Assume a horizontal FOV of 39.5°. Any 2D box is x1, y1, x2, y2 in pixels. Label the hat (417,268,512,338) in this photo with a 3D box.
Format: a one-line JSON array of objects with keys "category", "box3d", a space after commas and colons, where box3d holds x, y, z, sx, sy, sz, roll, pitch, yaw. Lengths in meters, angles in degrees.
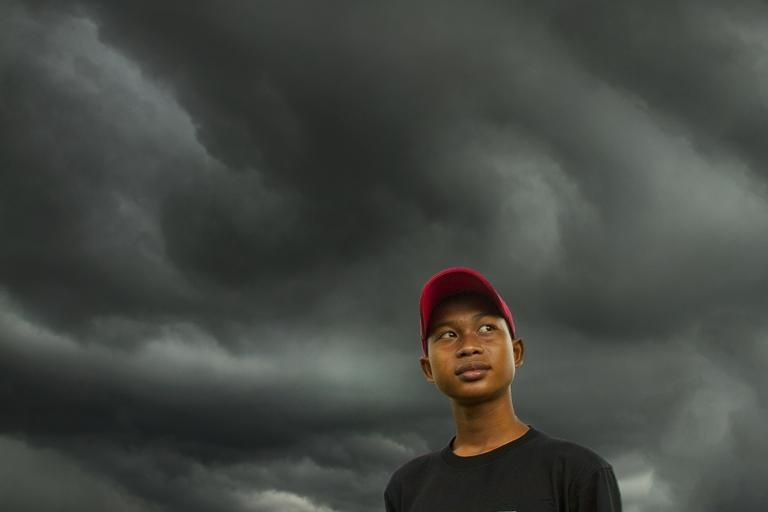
[{"category": "hat", "box3d": [0.406, 0.196, 6.190, 0.384, 0.566, 0.177, -12, 2, 7]}]
